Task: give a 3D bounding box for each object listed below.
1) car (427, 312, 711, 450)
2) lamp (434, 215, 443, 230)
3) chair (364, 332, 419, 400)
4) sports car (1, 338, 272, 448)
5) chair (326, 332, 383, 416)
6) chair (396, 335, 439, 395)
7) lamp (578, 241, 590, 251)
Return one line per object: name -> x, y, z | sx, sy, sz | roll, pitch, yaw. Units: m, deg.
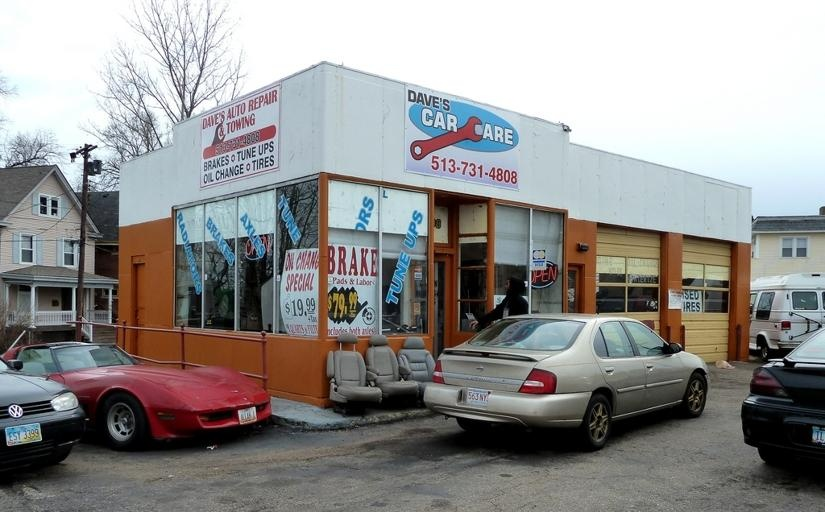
car -> 2.849, 2.135, 10.243 | 4.970, 2.098, 1.688 | -1, 4, -28
lamp -> 0.703, -0.870, 15.212 | 0.216, 0.298, 0.053 | -3, 5, -45
chair -> -0.432, 2.332, 12.255 | 0.982, 1.273, 1.202 | 6, -8, -42
sports car -> -5.034, 2.385, 10.422 | 4.175, 1.069, 2.139 | 1, -4, 22
chair -> -1.191, 2.373, 11.936 | 1.033, 1.426, 1.191 | 6, -8, -20
chair -> 0.194, 2.386, 12.680 | 0.905, 1.139, 1.005 | 3, -10, -20
lamp -> 5.000, -0.253, 16.735 | 0.523, 0.240, 0.125 | -2, 5, -39
